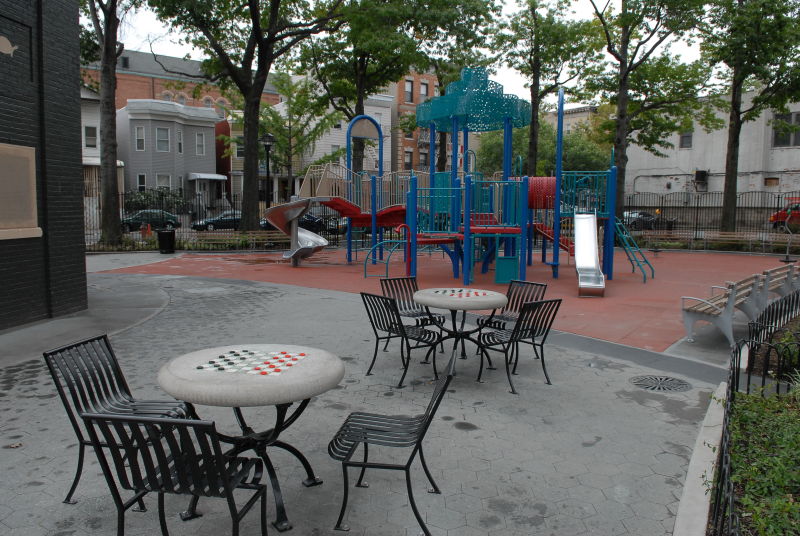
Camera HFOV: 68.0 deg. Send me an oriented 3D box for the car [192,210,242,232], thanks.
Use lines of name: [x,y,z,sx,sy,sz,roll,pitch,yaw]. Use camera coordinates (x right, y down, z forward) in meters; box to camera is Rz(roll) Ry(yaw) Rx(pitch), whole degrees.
car: [-10.069,-2.673,32.975,2.084,1.006,3.802,-2,6,-12]

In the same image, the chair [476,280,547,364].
chair: [1.606,0.659,9.301,1.155,1.566,0.893,-1,8,-28]

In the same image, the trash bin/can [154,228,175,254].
trash bin/can: [-9.652,-1.091,24.723,0.998,0.993,0.949,-2,6,-22]

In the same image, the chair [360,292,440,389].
chair: [0.020,0.956,8.553,0.939,1.244,0.823,-7,12,-33]

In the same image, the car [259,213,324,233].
car: [-6.138,-2.462,33.051,4.450,1.484,1.988,-3,7,-6]

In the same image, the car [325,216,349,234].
car: [-3.803,-2.449,35.099,1.343,0.846,2.394,2,9,3]

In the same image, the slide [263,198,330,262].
slide: [-3.665,-1.204,20.878,2.143,2.473,2.024,-3,15,-12]

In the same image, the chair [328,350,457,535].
chair: [-0.205,1.731,5.921,1.336,1.813,1.269,4,2,2]
